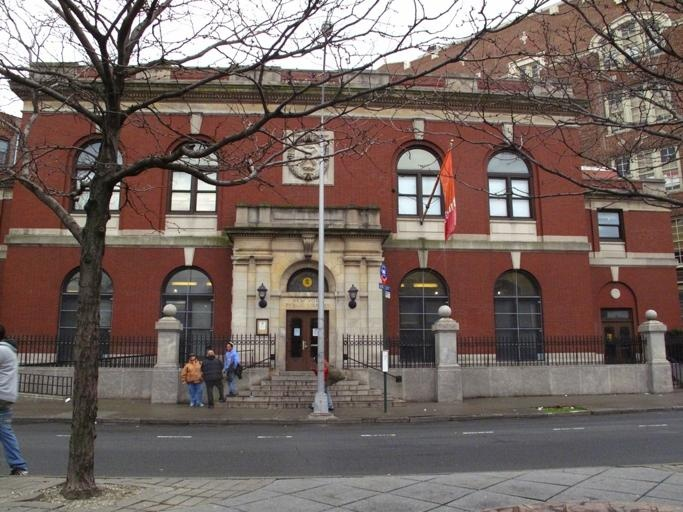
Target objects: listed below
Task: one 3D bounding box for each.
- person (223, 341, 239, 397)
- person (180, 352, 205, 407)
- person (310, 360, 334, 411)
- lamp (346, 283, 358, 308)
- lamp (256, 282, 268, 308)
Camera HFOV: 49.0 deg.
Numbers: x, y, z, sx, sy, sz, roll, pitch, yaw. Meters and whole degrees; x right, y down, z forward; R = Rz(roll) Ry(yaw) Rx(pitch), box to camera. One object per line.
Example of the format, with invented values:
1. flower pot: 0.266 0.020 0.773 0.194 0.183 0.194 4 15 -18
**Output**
1. person: -3.903 4.026 26.898 0.560 1.893 1.434 0 -10 -9
2. person: -5.046 4.235 25.714 0.683 1.733 1.292 1 -10 -11
3. person: -0.606 4.329 24.952 0.818 2.334 0.743 -2 -34 3
4. lamp: 0.527 1.540 29.664 0.424 0.972 0.420 0 -10 -8
5. lamp: -3.043 1.504 29.405 0.395 1.006 0.453 0 -10 -7
